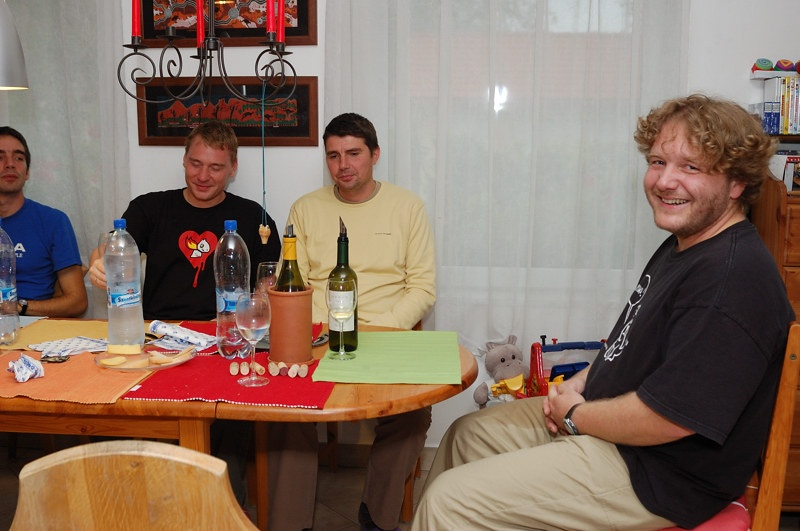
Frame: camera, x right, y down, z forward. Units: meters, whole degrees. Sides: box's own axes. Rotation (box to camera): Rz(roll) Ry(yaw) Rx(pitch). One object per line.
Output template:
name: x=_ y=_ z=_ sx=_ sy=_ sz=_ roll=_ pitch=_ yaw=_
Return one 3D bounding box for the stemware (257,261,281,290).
stemware: x=-0.488 y=0.041 z=2.160 sx=0.088 sy=0.129 sz=0.089 roll=0 pitch=4 yaw=-18

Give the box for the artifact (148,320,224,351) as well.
artifact: x=-0.828 y=0.276 z=2.232 sx=0.145 sy=0.042 sz=0.156 roll=15 pitch=12 yaw=5

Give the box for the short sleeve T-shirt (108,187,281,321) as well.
short sleeve T-shirt: x=-1.055 y=0.013 z=3.309 sx=1.004 sy=0.815 sz=0.606 roll=1 pitch=-9 yaw=3

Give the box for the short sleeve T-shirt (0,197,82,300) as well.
short sleeve T-shirt: x=-1.860 y=-0.067 z=3.028 sx=0.543 sy=0.501 sz=0.238 roll=-1 pitch=1 yaw=2

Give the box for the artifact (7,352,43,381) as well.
artifact: x=-1.238 y=0.341 z=1.941 sx=0.085 sy=0.030 sz=0.086 roll=40 pitch=43 yaw=24

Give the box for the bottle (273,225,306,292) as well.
bottle: x=-0.395 y=-0.037 z=2.073 sx=0.104 sy=0.231 sz=0.280 roll=-3 pitch=10 yaw=-12
